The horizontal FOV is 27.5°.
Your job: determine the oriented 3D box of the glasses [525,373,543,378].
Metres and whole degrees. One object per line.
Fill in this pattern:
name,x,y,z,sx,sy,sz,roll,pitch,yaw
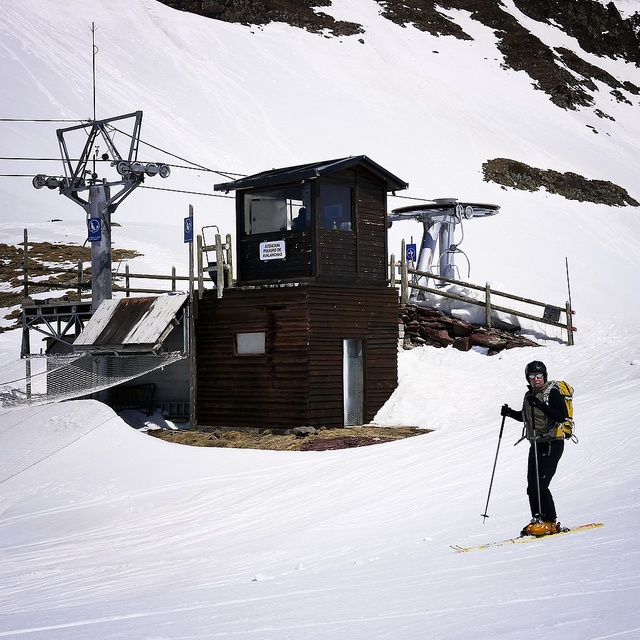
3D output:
glasses,3.587,0.926,21.860,0.239,0.108,0.054,-3,12,10

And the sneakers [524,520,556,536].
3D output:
sneakers,3.683,3.466,21.869,0.367,0.125,0.257,-3,5,-36

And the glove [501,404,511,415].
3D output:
glove,3.124,1.525,22.189,0.080,0.200,0.140,6,7,-46

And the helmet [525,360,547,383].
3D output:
helmet,3.606,0.834,22.034,0.288,0.381,0.365,-1,14,12

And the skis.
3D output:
skis,3.508,3.633,21.948,1.814,0.164,0.214,-8,-20,-16

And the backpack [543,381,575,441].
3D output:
backpack,3.987,1.514,21.854,0.403,1.022,0.448,-3,12,10
